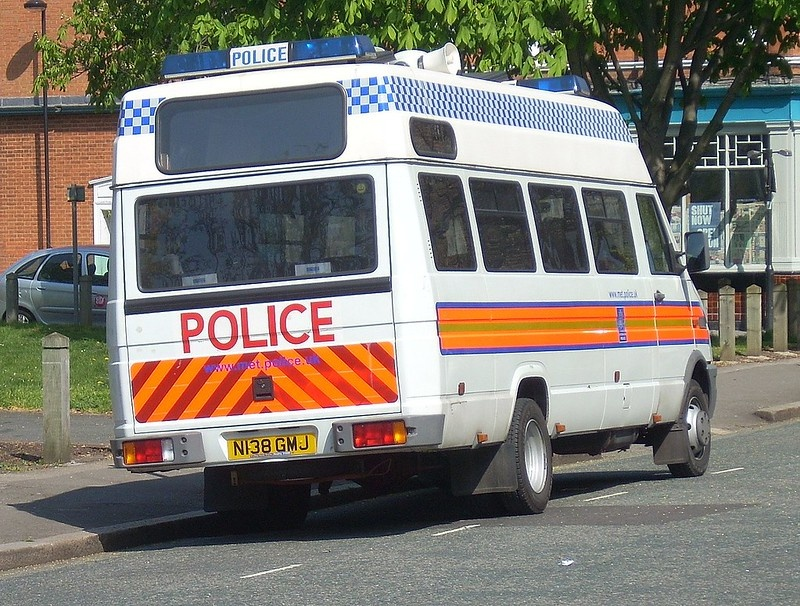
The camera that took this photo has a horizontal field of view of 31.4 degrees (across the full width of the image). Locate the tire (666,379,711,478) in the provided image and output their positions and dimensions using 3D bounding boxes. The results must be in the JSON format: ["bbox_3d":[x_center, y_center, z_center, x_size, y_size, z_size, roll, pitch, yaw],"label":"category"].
[{"bbox_3d":[3.146,1.402,15.513,0.414,1.102,0.927,-6,-10,32],"label":"tire"}]

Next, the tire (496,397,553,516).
[{"bbox_3d":[1.142,1.446,13.190,0.285,0.987,0.825,-5,-21,27],"label":"tire"}]

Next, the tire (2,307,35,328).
[{"bbox_3d":[-7.954,0.333,29.750,0.359,0.395,0.143,0,7,-9],"label":"tire"}]

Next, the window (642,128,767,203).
[{"bbox_3d":[6.276,-2.742,28.393,2.795,1.883,0.101,1,0,34],"label":"window"}]
